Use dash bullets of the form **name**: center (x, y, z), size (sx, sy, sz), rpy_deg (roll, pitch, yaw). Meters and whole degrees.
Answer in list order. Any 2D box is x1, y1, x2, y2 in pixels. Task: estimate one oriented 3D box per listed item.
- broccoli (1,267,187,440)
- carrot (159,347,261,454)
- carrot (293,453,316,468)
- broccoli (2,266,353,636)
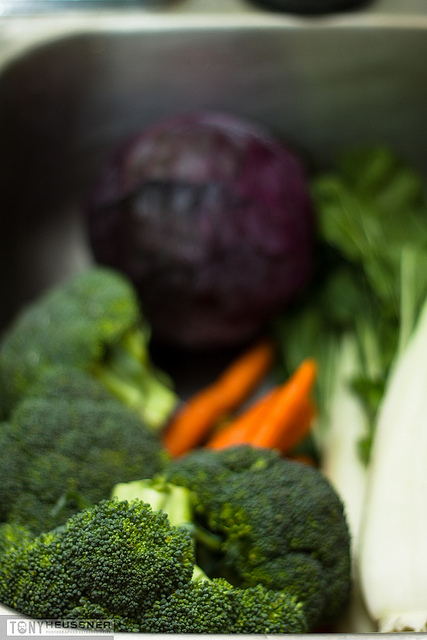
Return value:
- **broccoli**: center (-0.149, 0.054, 0.767), size (0.174, 0.099, 0.223), rpy_deg (-40, 88, -8)
- **carrot**: center (0.018, 0.089, 0.797), size (0.047, 0.042, 0.234), rpy_deg (45, 56, 8)
- **carrot**: center (0.114, 0.172, 0.737), size (0.021, 0.011, 0.022), rpy_deg (8, 14, 1)
- **broccoli**: center (-0.083, 0.155, 0.757), size (0.420, 0.159, 0.342), rpy_deg (4, 75, -10)
